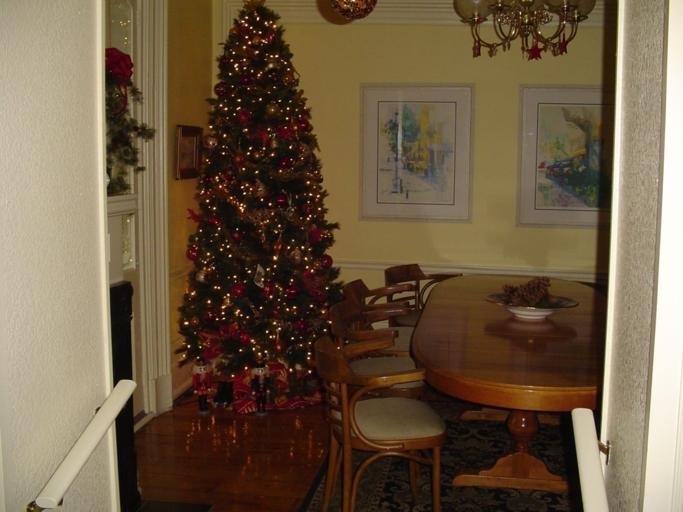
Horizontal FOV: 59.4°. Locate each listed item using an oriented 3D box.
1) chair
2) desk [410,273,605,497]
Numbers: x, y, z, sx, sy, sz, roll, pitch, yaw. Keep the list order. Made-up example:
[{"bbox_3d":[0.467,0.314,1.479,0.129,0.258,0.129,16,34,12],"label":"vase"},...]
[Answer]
[{"bbox_3d":[0.247,0.759,3.350,0.454,0.582,1.254,-2,10,0],"label":"chair"},{"bbox_3d":[0.954,0.820,3.264,0.820,0.505,1.995,2,-3,17],"label":"desk"}]
